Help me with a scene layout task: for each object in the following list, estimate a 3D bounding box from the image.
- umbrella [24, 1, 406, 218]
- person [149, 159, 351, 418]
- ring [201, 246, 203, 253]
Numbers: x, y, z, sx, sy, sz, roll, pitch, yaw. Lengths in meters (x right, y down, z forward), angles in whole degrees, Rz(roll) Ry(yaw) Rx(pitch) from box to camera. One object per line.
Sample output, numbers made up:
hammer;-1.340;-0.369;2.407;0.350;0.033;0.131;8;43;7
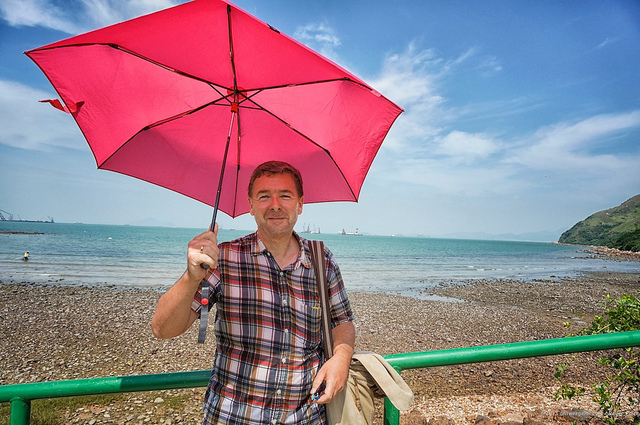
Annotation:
umbrella;-0.894;-0.815;3.617;2.840;1.574;1.332;1;-4;3
person;-0.341;0.629;3.330;1.223;2.201;0.415;1;-4;2
ring;-0.916;0.290;2.994;0.009;0.048;0.014;5;-6;-40
